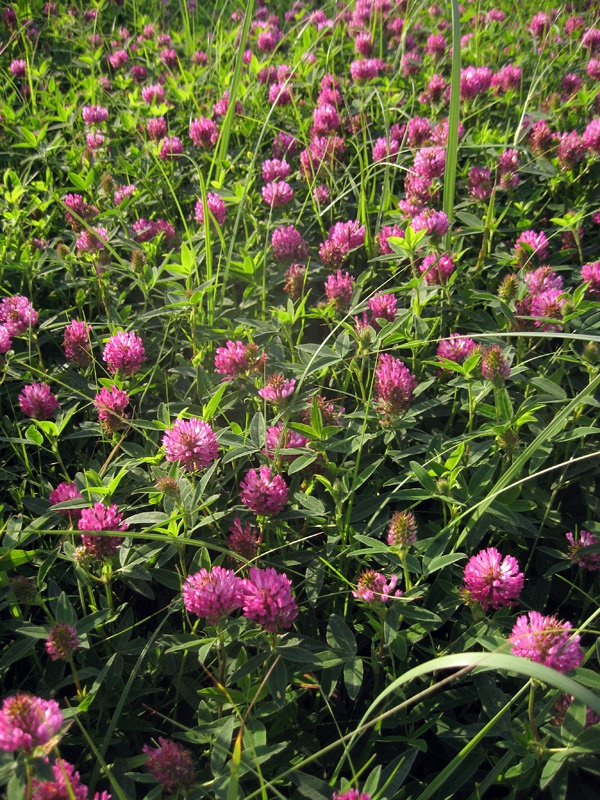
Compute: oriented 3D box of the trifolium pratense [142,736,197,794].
[{"bbox_3d":[-0.286,0.817,1.543,0.095,0.099,0.122,-16,32,-19],"label":"trifolium pratense"}]
